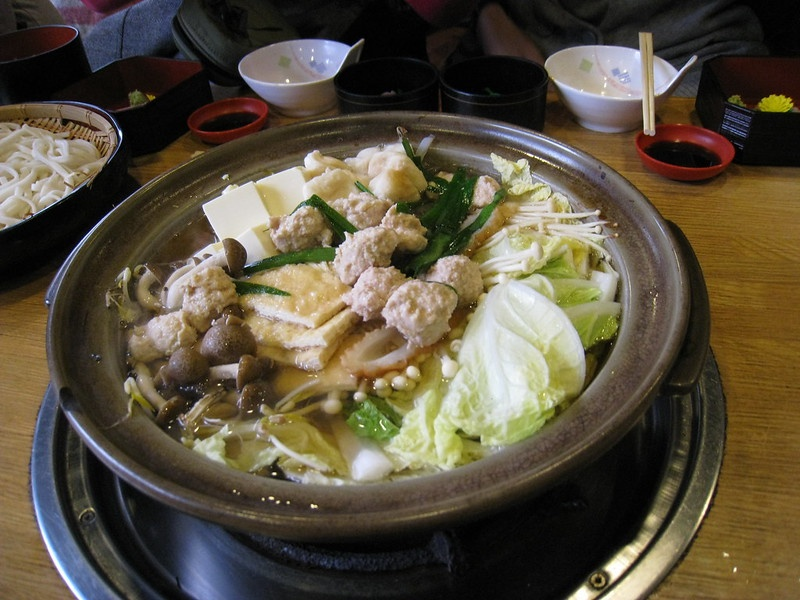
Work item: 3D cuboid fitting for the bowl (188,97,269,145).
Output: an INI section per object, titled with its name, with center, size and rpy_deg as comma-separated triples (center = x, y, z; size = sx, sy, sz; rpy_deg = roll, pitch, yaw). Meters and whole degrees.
[bowl]
center = -0.833, -0.859, 3.081
size = 0.380, 0.206, 0.355
rpy_deg = 0, 21, 0

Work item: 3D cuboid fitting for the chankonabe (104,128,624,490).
[chankonabe]
center = -0.108, 0.040, 2.221
size = 1.307, 0.442, 1.279
rpy_deg = -28, 50, -22

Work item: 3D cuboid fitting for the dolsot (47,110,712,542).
[dolsot]
center = -0.144, -0.022, 2.220
size = 2.135, 0.494, 1.629
rpy_deg = 1, 68, 4
